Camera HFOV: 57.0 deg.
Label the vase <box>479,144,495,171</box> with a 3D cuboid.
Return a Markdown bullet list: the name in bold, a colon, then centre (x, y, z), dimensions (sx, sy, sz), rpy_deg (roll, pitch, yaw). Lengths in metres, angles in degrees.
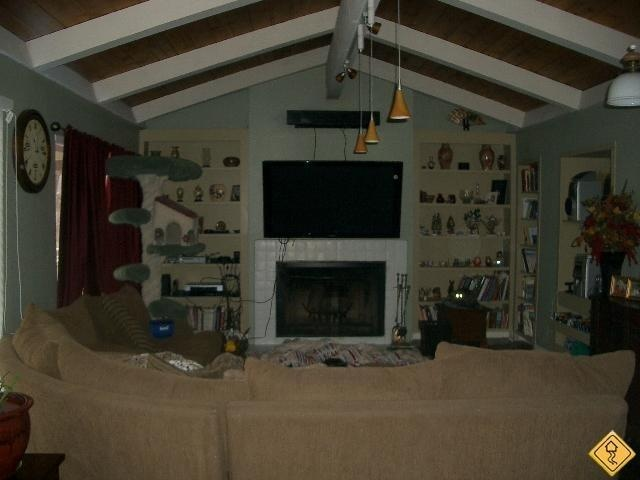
- **vase**: centre (1.970, -0.977, 6.968), dimensions (0.160, 0.299, 0.165), rpy_deg (1, -1, 15)

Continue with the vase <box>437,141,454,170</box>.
- **vase**: centre (1.439, -0.979, 6.919), dimensions (0.167, 0.326, 0.261), rpy_deg (2, -1, -27)

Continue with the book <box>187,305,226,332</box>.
- **book**: centre (-1.258, 0.862, 6.520), dimensions (0.408, 0.355, 0.243), rpy_deg (1, -3, -2)

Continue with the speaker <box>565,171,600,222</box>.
- **speaker**: centre (2.589, -0.436, 5.793), dimensions (0.255, 0.526, 0.294), rpy_deg (0, 9, 9)

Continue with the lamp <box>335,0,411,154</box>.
- **lamp**: centre (0.505, -1.558, 5.656), dimensions (0.265, 1.156, 1.219), rpy_deg (1, 1, -13)

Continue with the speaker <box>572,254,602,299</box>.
- **speaker**: centre (2.500, 0.336, 5.555), dimensions (0.201, 0.380, 0.231), rpy_deg (2, 2, 1)
